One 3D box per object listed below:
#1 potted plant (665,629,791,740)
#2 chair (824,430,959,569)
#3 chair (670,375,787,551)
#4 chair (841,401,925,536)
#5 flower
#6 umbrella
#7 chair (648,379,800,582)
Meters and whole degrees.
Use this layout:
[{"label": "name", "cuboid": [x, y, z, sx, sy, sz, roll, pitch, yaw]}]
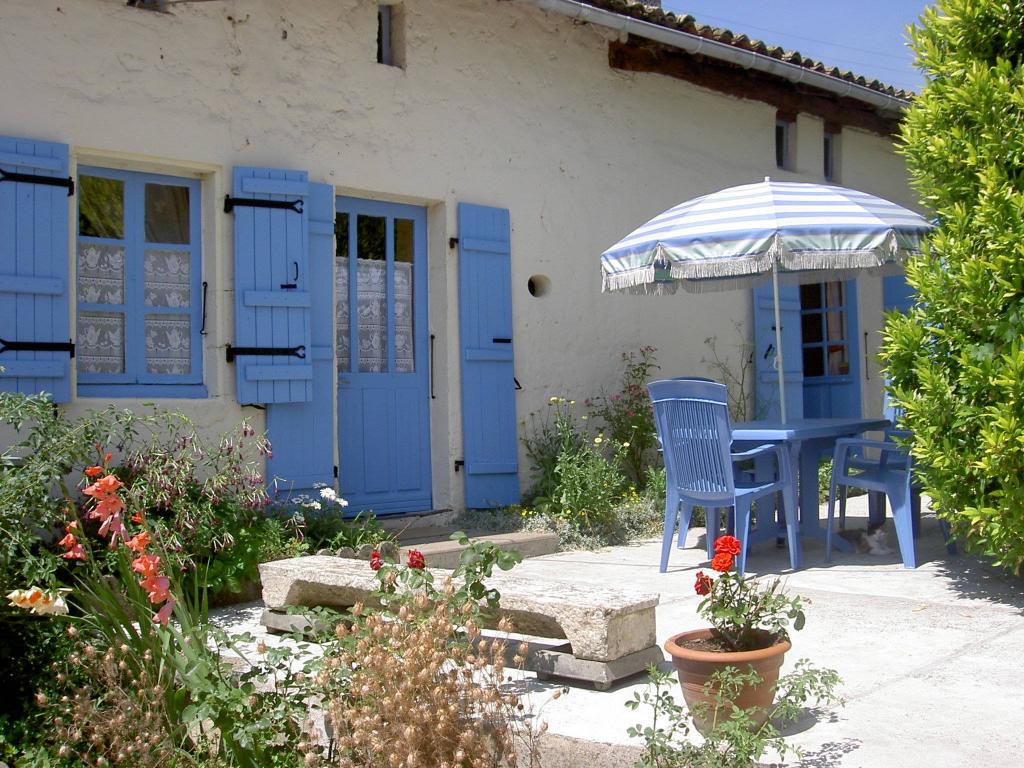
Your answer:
[{"label": "potted plant", "cuboid": [0.893, 1.226, 4.138, 0.458, 0.384, 0.413, 0, -5, -30]}, {"label": "chair", "cuboid": [2.414, 0.718, 6.766, 0.567, 0.937, 0.673, -2, 0, 12]}, {"label": "chair", "cuboid": [1.390, 0.577, 6.648, 0.847, 1.289, 0.749, -9, 9, -34]}, {"label": "chair", "cuboid": [2.388, 0.640, 6.795, 0.467, 0.841, 0.521, -4, 9, 26]}, {"label": "flower", "cuboid": [0.983, 0.883, 4.214, 0.301, 0.488, 0.433, 6, -4, -39]}, {"label": "umbrella", "cuboid": [1.731, -0.823, 6.994, 1.713, 1.679, 1.875, -3, 3, 12]}, {"label": "chair", "cuboid": [1.380, 0.598, 6.609, 0.851, 1.298, 0.750, -5, 4, -41]}]
